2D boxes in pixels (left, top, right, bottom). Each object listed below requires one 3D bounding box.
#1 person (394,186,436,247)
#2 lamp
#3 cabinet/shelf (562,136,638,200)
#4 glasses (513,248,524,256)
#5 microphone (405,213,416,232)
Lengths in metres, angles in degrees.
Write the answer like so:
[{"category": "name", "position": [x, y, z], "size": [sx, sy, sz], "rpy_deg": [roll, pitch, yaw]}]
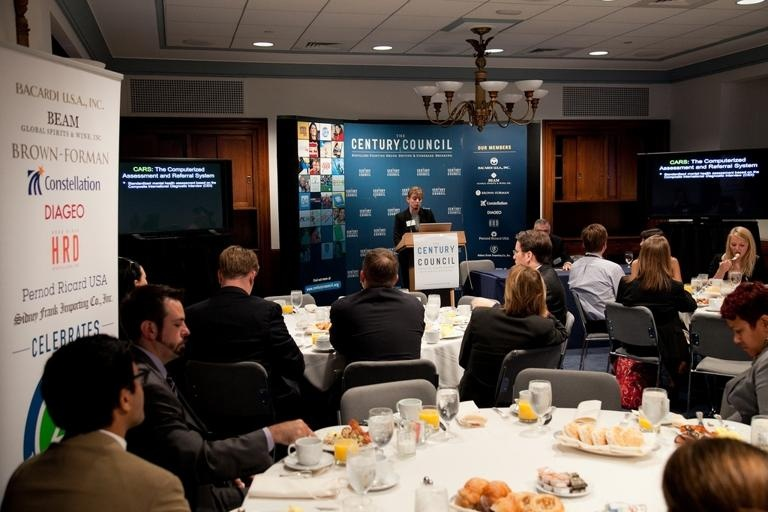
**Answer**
[{"category": "person", "position": [0.400, -0.509, 7.304], "size": [0.537, 0.804, 1.588], "rpy_deg": [-2, 8, 3]}, {"category": "lamp", "position": [1.123, -2.062, 6.359], "size": [1.586, 1.143, 1.618], "rpy_deg": [9, 14, 41]}, {"category": "cabinet/shelf", "position": [3.513, -1.451, 9.102], "size": [1.087, 0.962, 0.416], "rpy_deg": [1, -1, -14]}, {"category": "glasses", "position": [1.256, -0.040, 5.133], "size": [0.028, 0.097, 0.093], "rpy_deg": [-12, 9, -5]}, {"category": "microphone", "position": [0.385, -0.429, 7.365], "size": [0.164, 0.311, 0.171], "rpy_deg": [-1, 2, 7]}]
